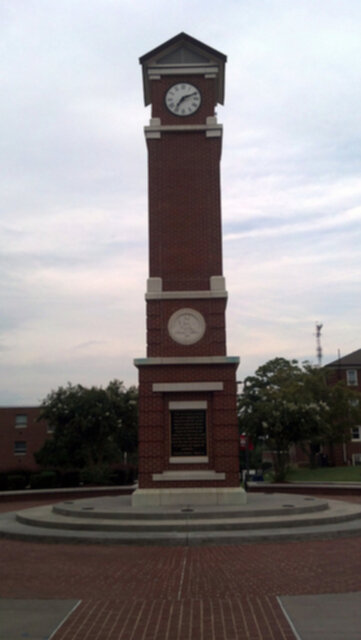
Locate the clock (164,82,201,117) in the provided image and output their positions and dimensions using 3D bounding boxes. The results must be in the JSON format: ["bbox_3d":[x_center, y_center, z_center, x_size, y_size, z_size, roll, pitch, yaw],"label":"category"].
[{"bbox_3d":[0.063,-6.921,17.908,1.104,1.133,0.125,1,-2,-1],"label":"clock"}]
